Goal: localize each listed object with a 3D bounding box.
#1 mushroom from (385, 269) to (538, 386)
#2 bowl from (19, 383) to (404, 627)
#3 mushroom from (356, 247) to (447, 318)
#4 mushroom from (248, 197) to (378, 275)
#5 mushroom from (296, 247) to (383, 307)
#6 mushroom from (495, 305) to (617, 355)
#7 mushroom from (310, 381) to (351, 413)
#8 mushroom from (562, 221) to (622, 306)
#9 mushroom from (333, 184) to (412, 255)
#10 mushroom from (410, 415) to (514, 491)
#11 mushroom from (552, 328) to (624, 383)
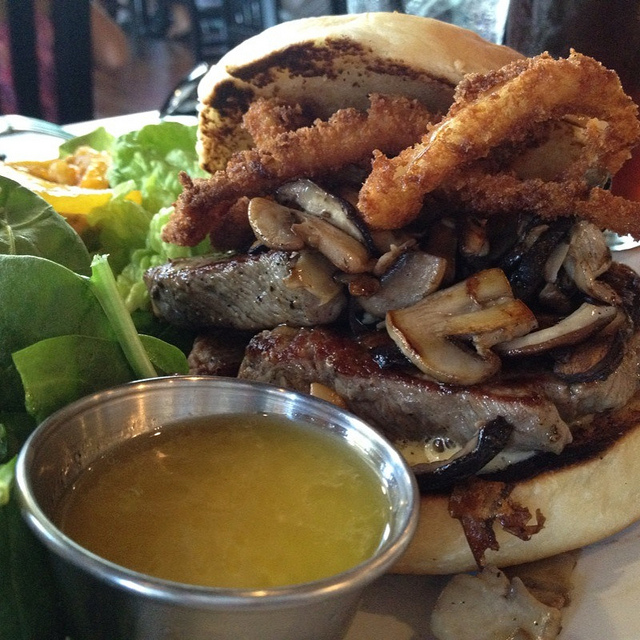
[{"bbox_3d":[0.351,0.008,1.938,0.461,0.271,0.122,5,28,27],"label":"mushroom"},{"bbox_3d":[-0.211,0.395,1.619,0.792,0.286,0.652,9,27,12],"label":"bowl"},{"bbox_3d":[0.253,-0.096,2.081,0.189,0.058,0.226,41,90,20],"label":"mushroom"},{"bbox_3d":[-0.037,-0.225,2.014,0.398,0.075,0.170,14,19,0],"label":"mushroom"},{"bbox_3d":[-0.015,-0.126,2.079,0.238,0.135,0.047,9,55,20],"label":"mushroom"},{"bbox_3d":[0.588,0.018,1.922,0.242,0.038,0.151,-14,0,-8],"label":"mushroom"},{"bbox_3d":[0.020,0.195,2.001,0.096,0.090,0.020,17,78,31],"label":"mushroom"},{"bbox_3d":[0.687,-0.147,1.979,0.182,0.060,0.197,-6,66,-30],"label":"mushroom"},{"bbox_3d":[0.139,-0.257,1.996,0.200,0.061,0.188,33,3,-29],"label":"mushroom"},{"bbox_3d":[0.357,0.347,1.929,0.119,0.347,0.105,22,66,-12],"label":"mushroom"},{"bbox_3d":[0.694,0.085,1.919,0.118,0.095,0.219,25,34,32],"label":"mushroom"}]
